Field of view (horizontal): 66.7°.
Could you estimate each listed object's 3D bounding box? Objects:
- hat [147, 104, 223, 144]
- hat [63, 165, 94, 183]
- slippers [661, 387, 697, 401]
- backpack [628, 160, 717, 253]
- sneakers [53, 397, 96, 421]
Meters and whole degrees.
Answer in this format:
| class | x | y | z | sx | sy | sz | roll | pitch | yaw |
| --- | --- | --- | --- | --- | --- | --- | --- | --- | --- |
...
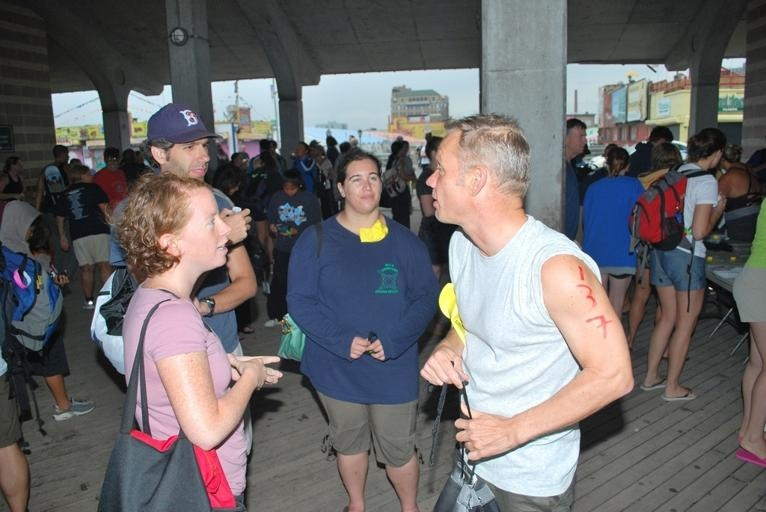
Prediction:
| class | x | y | z | sx | sy | sz | roll | pitch | yaw |
| --- | --- | --- | --- | --- | --- | --- | --- | --- | --- |
| hat | -1.454 | -0.935 | 4.242 | 0.600 | 0.283 | 0.434 | 6 | 19 | 15 |
| hat | -4.958 | -1.322 | 9.509 | 0.312 | 0.286 | 0.882 | -9 | 13 | -27 |
| slippers | 3.275 | 1.524 | 6.460 | 0.285 | 0.091 | 0.152 | -3 | 6 | -4 |
| backpack | 3.000 | -0.473 | 6.173 | 0.682 | 0.854 | 0.259 | 1 | 12 | 21 |
| sneakers | -3.485 | 1.708 | 6.575 | 0.409 | 0.202 | 0.151 | -8 | 14 | -31 |
